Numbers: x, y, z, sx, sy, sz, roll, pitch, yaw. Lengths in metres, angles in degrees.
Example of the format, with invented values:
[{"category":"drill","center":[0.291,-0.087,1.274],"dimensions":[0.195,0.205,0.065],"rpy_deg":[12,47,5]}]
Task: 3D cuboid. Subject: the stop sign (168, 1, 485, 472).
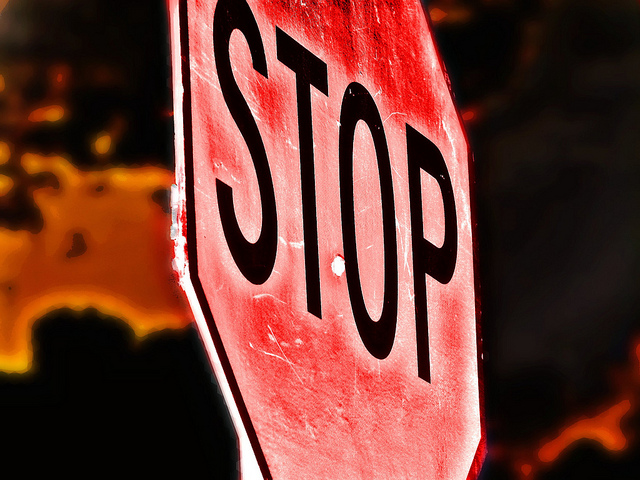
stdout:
[{"category":"stop sign","center":[0.022,-0.012,2.257],"dimensions":[0.873,1.552,0.097],"rpy_deg":[6,-12,-39]}]
